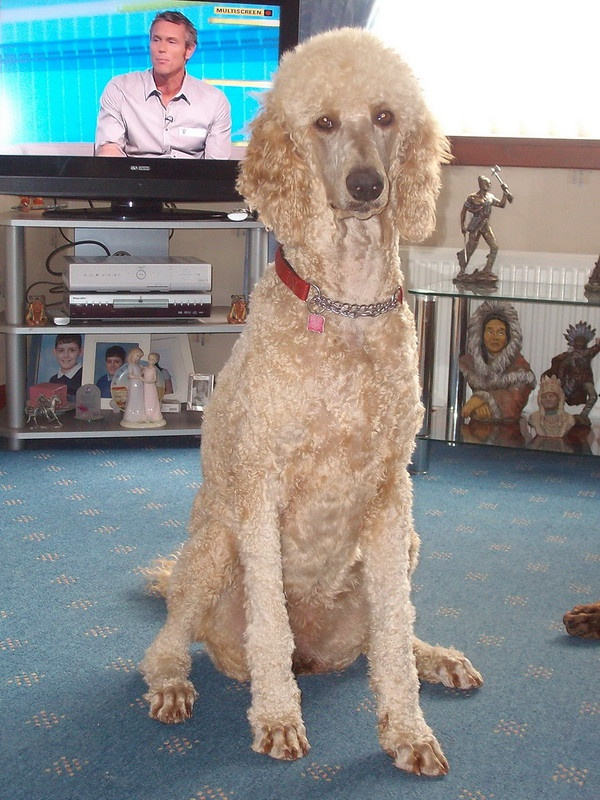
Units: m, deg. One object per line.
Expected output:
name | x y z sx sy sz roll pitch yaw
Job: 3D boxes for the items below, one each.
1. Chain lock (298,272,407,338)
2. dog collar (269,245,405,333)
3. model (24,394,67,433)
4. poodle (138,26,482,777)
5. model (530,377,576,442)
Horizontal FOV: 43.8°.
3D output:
Chain lock | 0.089 -0.159 1.191 0.148 0.074 0.029 -1 -38 -4
dog collar | 0.041 -0.206 1.236 0.143 0.044 0.170 -7 38 -27
model | -1.191 0.048 3.469 0.152 0.135 0.287 -2 10 -18
poodle | -0.011 0.012 1.313 0.551 1.262 0.345 1 10 0
model | 1.088 0.029 3.245 0.178 0.263 0.195 6 12 27
